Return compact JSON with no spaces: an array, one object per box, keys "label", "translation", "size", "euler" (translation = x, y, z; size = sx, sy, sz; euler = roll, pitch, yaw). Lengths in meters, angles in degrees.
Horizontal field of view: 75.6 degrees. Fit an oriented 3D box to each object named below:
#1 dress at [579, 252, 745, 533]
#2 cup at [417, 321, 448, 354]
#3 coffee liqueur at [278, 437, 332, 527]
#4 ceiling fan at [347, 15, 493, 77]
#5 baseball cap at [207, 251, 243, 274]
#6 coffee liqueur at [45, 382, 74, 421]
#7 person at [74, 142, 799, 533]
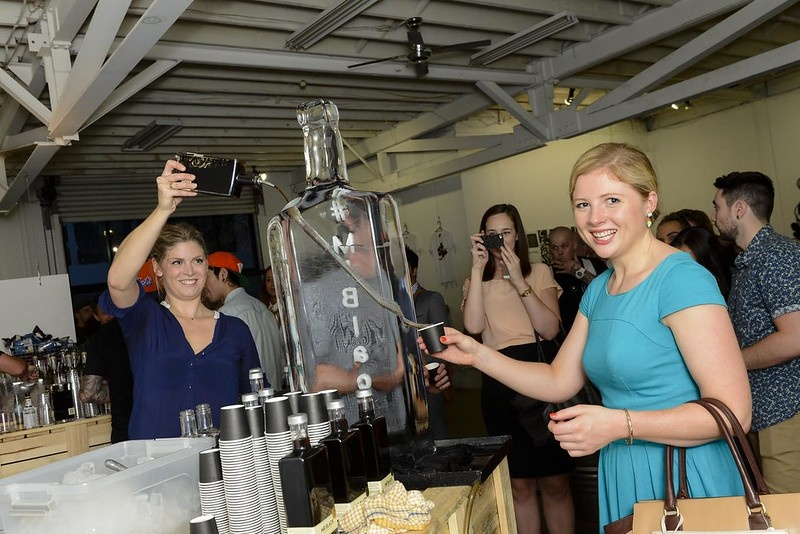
[{"label":"dress","translation":[0.830,0.437,1.707],"size":[0.516,0.665,0.374],"euler":[-11,-7,34]},{"label":"cup","translation":[0.108,0.222,1.733],"size":[0.097,0.074,0.095],"euler":[-19,-22,-8]},{"label":"coffee liqueur","translation":[-0.202,0.477,1.124],"size":[0.111,0.157,0.067],"euler":[-5,-6,-16]},{"label":"ceiling fan","translation":[0.213,-1.996,4.828],"size":[0.685,0.257,0.708],"euler":[-11,-17,31]},{"label":"baseball cap","translation":[-1.440,-0.058,4.255],"size":[0.160,0.149,0.262],"euler":[20,19,37]},{"label":"coffee liqueur","translation":[-3.006,1.193,4.582],"size":[0.145,0.307,0.165],"euler":[-2,-8,-39]},{"label":"person","translation":[-0.007,0.281,2.538],"size":[2.728,1.654,1.125],"euler":[-1,-4,18]}]
